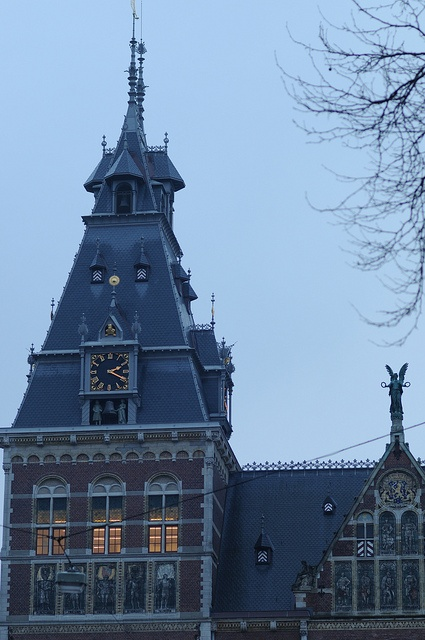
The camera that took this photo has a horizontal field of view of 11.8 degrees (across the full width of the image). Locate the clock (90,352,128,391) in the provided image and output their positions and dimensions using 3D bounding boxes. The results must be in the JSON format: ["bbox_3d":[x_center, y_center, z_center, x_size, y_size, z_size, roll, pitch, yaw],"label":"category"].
[{"bbox_3d":[-3.305,1.669,66.183,0.891,1.163,0.118,-2,-12,6],"label":"clock"}]
